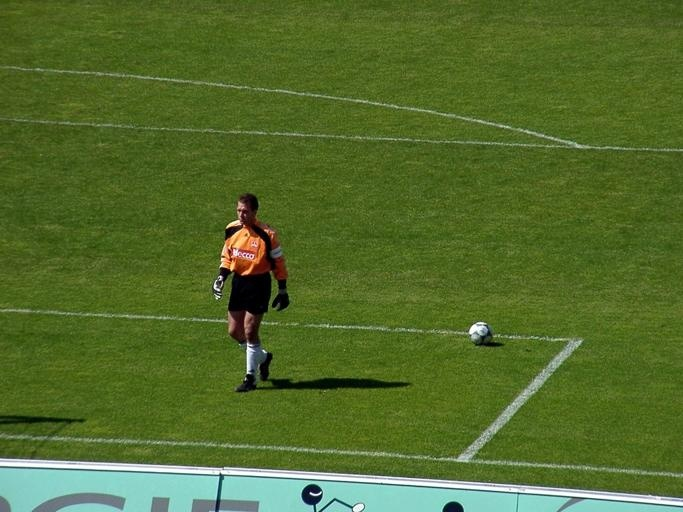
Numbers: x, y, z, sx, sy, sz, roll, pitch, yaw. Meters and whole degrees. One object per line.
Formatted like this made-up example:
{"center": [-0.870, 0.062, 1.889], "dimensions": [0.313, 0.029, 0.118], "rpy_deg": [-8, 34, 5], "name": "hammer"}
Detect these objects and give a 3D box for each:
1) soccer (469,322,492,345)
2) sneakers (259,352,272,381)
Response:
{"center": [2.651, 1.462, 28.082], "dimensions": [0.443, 0.454, 0.305], "rpy_deg": [1, -15, 4], "name": "soccer"}
{"center": [-1.303, 1.926, 26.226], "dimensions": [0.222, 0.507, 0.248], "rpy_deg": [1, 20, 6], "name": "sneakers"}
